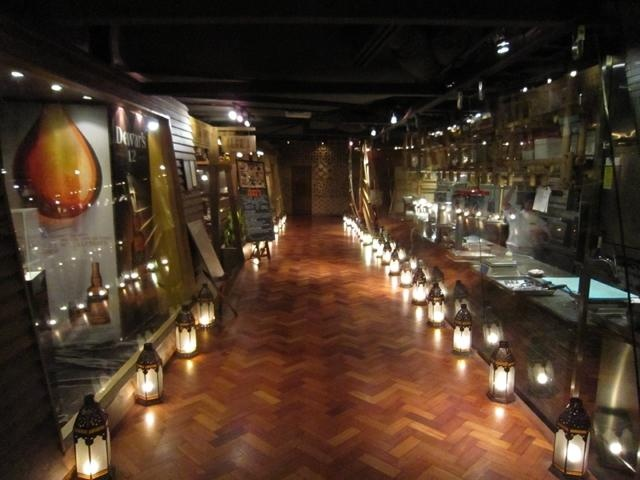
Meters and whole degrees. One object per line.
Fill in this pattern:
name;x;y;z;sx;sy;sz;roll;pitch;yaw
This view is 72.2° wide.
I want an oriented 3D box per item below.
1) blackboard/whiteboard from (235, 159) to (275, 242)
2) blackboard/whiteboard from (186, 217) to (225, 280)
blackboard/whiteboard;-1.052;-0.650;7.117;0.079;1.291;0.648;-6;0;35
blackboard/whiteboard;-1.480;0.121;5.598;0.161;0.641;0.623;-21;22;14
